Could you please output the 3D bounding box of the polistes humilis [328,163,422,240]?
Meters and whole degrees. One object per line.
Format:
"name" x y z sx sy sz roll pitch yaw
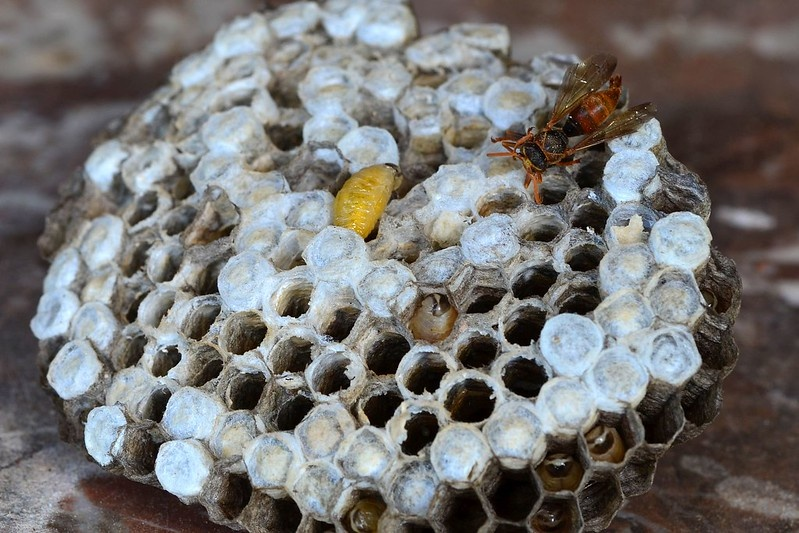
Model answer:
"polistes humilis" -0.133 -0.282 3.906 0.205 0.101 0.356 26 57 10
